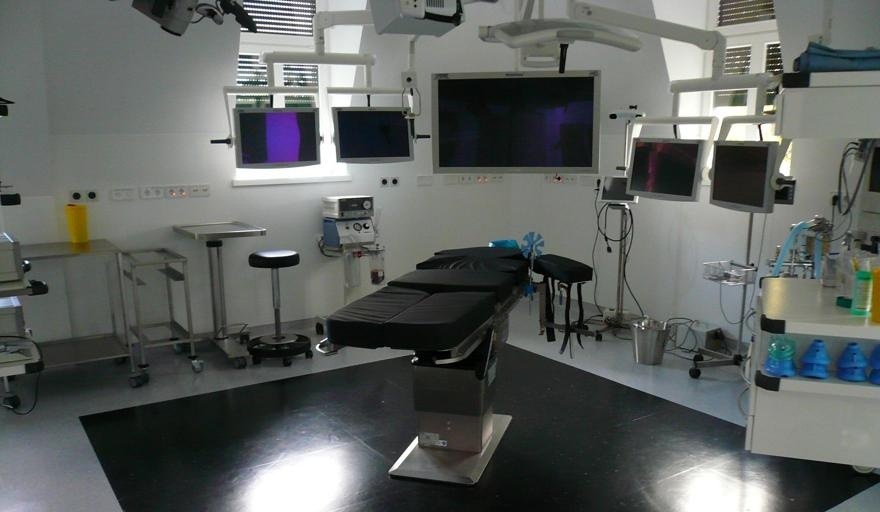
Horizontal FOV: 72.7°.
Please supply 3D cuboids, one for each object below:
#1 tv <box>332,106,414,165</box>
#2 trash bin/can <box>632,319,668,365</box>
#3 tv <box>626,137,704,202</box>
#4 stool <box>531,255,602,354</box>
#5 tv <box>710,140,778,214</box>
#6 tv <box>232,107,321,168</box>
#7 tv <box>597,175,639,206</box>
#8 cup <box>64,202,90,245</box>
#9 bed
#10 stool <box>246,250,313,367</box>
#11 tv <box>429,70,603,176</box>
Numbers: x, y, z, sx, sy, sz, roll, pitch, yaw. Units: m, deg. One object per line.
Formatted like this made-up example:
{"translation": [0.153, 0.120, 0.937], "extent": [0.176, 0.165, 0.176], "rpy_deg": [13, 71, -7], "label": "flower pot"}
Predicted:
{"translation": [-0.670, -1.232, 6.024], "extent": [0.679, 0.419, 0.065], "rpy_deg": [1, 0, -11], "label": "tv"}
{"translation": [2.145, 0.888, 6.149], "extent": [0.401, 0.409, 0.407], "rpy_deg": [7, 15, 37], "label": "trash bin/can"}
{"translation": [2.201, -0.866, 5.958], "extent": [0.832, 0.612, 0.078], "rpy_deg": [1, 11, -17], "label": "tv"}
{"translation": [1.297, 0.477, 5.849], "extent": [0.528, 0.660, 0.572], "rpy_deg": [9, -1, 6], "label": "stool"}
{"translation": [2.751, -0.720, 5.454], "extent": [0.117, 0.648, 0.716], "rpy_deg": [-9, 16, -18], "label": "tv"}
{"translation": [-1.690, -1.225, 6.100], "extent": [0.756, 0.462, 0.086], "rpy_deg": [-1, 6, -24], "label": "tv"}
{"translation": [1.929, -0.716, 6.440], "extent": [0.399, 0.261, 0.052], "rpy_deg": [5, -2, 36], "label": "tv"}
{"translation": [-3.542, -0.317, 5.845], "extent": [0.173, 0.383, 0.194], "rpy_deg": [-7, 11, -27], "label": "cup"}
{"translation": [0.086, 0.896, 4.844], "extent": [1.126, 1.409, 2.141], "rpy_deg": [-2, 7, 19], "label": "bed"}
{"translation": [-1.702, 0.498, 6.331], "extent": [0.650, 1.131, 0.783], "rpy_deg": [-3, 9, -8], "label": "stool"}
{"translation": [0.595, -1.076, 4.819], "extent": [1.454, 0.787, 0.032], "rpy_deg": [7, 19, 29], "label": "tv"}
